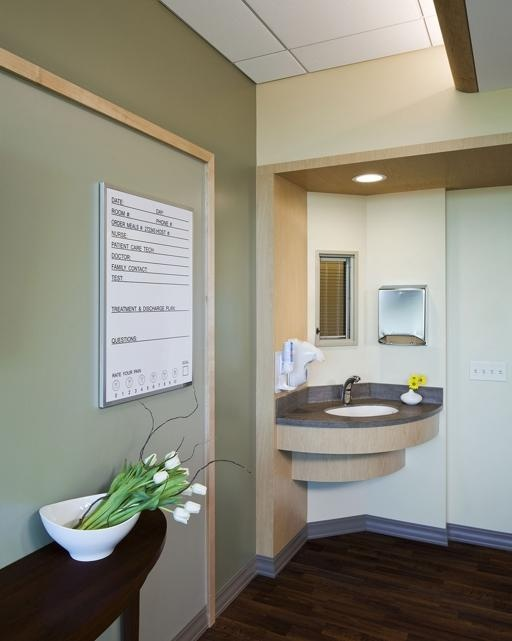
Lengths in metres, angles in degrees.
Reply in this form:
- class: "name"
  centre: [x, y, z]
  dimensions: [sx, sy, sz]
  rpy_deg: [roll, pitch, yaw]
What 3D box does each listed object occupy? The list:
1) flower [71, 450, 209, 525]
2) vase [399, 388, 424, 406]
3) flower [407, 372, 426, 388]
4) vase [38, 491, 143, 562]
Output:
- class: "flower"
  centre: [-0.318, 0.504, 1.393]
  dimensions: [0.370, 0.149, 0.217]
  rpy_deg: [-12, 37, -22]
- class: "vase"
  centre: [0.968, 0.481, 3.026]
  dimensions: [0.133, 0.083, 0.140]
  rpy_deg: [0, 3, 18]
- class: "flower"
  centre: [1.023, 0.394, 3.067]
  dimensions: [0.109, 0.105, 0.054]
  rpy_deg: [0, 2, 14]
- class: "vase"
  centre: [-0.424, 0.505, 1.241]
  dimensions: [0.148, 0.080, 0.172]
  rpy_deg: [-1, -8, 42]
